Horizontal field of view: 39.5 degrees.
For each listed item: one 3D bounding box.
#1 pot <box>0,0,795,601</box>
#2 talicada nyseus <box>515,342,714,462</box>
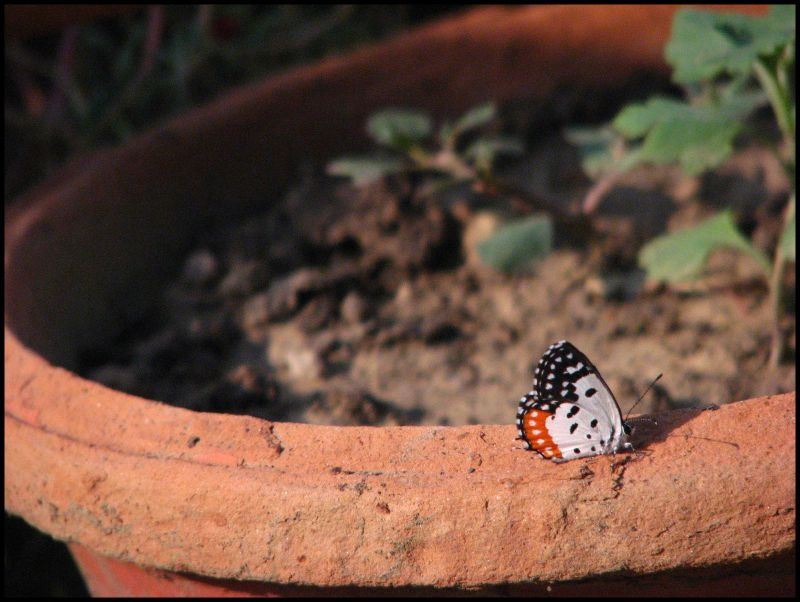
[{"bbox_3d":[-0.057,0.025,2.448,1.572,0.668,1.524,-2,77,10],"label":"pot"},{"bbox_3d":[0.331,0.206,2.188,0.281,0.262,0.234,-7,87,-35],"label":"talicada nyseus"}]
